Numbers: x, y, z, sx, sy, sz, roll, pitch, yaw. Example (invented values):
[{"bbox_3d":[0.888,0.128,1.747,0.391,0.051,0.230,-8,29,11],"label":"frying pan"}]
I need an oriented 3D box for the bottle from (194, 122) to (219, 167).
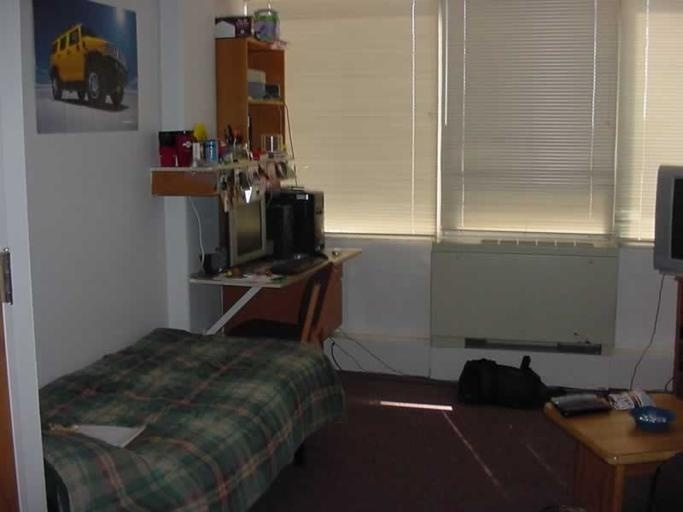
[{"bbox_3d":[-0.809,-0.657,3.600,0.232,0.264,0.146,2,5,10],"label":"bottle"}]

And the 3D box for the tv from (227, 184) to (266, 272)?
[{"bbox_3d":[-0.641,-0.180,4.032,0.106,0.434,0.462,2,12,17],"label":"tv"}]

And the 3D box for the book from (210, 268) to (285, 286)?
[{"bbox_3d":[-0.586,0.141,3.780,0.561,0.072,0.214,3,13,18],"label":"book"}]

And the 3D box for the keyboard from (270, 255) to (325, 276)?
[{"bbox_3d":[-0.288,0.049,4.039,0.241,0.053,0.589,3,13,17],"label":"keyboard"}]

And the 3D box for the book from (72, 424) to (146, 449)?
[{"bbox_3d":[-1.004,0.748,2.527,0.294,0.029,0.191,2,13,15],"label":"book"}]

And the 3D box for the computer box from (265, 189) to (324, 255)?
[{"bbox_3d":[-0.349,-0.253,4.440,0.391,0.423,0.295,4,7,21],"label":"computer box"}]

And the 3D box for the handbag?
[{"bbox_3d":[1.110,0.911,4.153,0.456,0.251,0.363,4,-25,10],"label":"handbag"}]

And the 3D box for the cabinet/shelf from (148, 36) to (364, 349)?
[{"bbox_3d":[-0.609,-0.452,4.082,0.781,2.233,2.118,1,9,12],"label":"cabinet/shelf"}]
